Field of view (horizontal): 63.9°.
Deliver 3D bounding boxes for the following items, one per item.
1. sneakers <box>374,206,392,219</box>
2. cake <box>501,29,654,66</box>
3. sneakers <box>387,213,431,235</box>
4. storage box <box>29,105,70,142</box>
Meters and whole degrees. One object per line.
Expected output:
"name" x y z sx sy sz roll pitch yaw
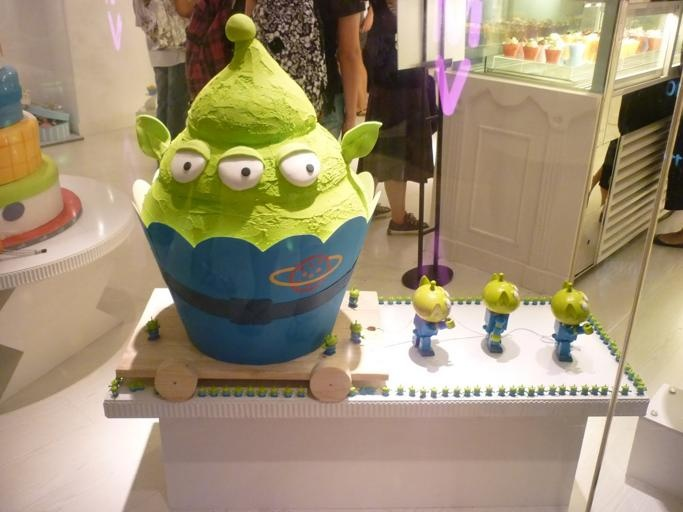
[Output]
"sneakers" 0.296 -0.320 4.069 0.187 0.088 0.068 -4 41 7
"cake" 1.363 -1.196 3.132 0.846 0.193 0.177 6 33 11
"sneakers" 0.515 -0.252 4.108 0.349 0.173 0.128 -3 23 -7
"storage box" -1.709 -0.783 3.238 0.168 0.178 0.175 -1 33 -8
